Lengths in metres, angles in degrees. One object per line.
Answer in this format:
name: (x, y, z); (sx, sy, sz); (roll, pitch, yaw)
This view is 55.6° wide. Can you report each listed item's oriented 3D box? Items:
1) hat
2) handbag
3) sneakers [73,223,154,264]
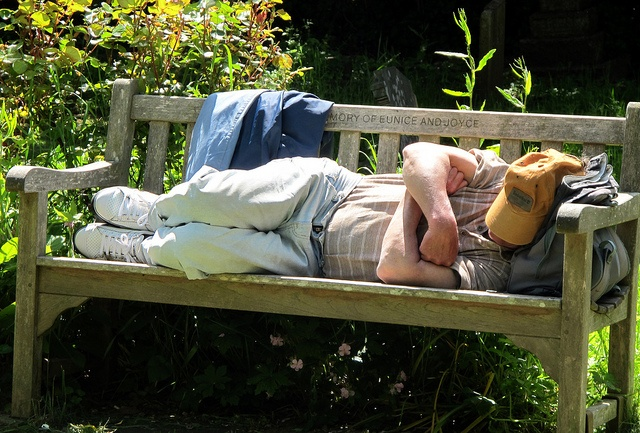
hat: (0.822, -0.115, 2.321); (0.248, 0.420, 0.155); (38, 3, 33)
handbag: (0.932, 0.161, 2.467); (0.406, 0.392, 0.405); (-22, 2, -18)
sneakers: (-0.899, 0.119, 2.674); (0.439, 0.151, 0.174); (3, 4, -12)
